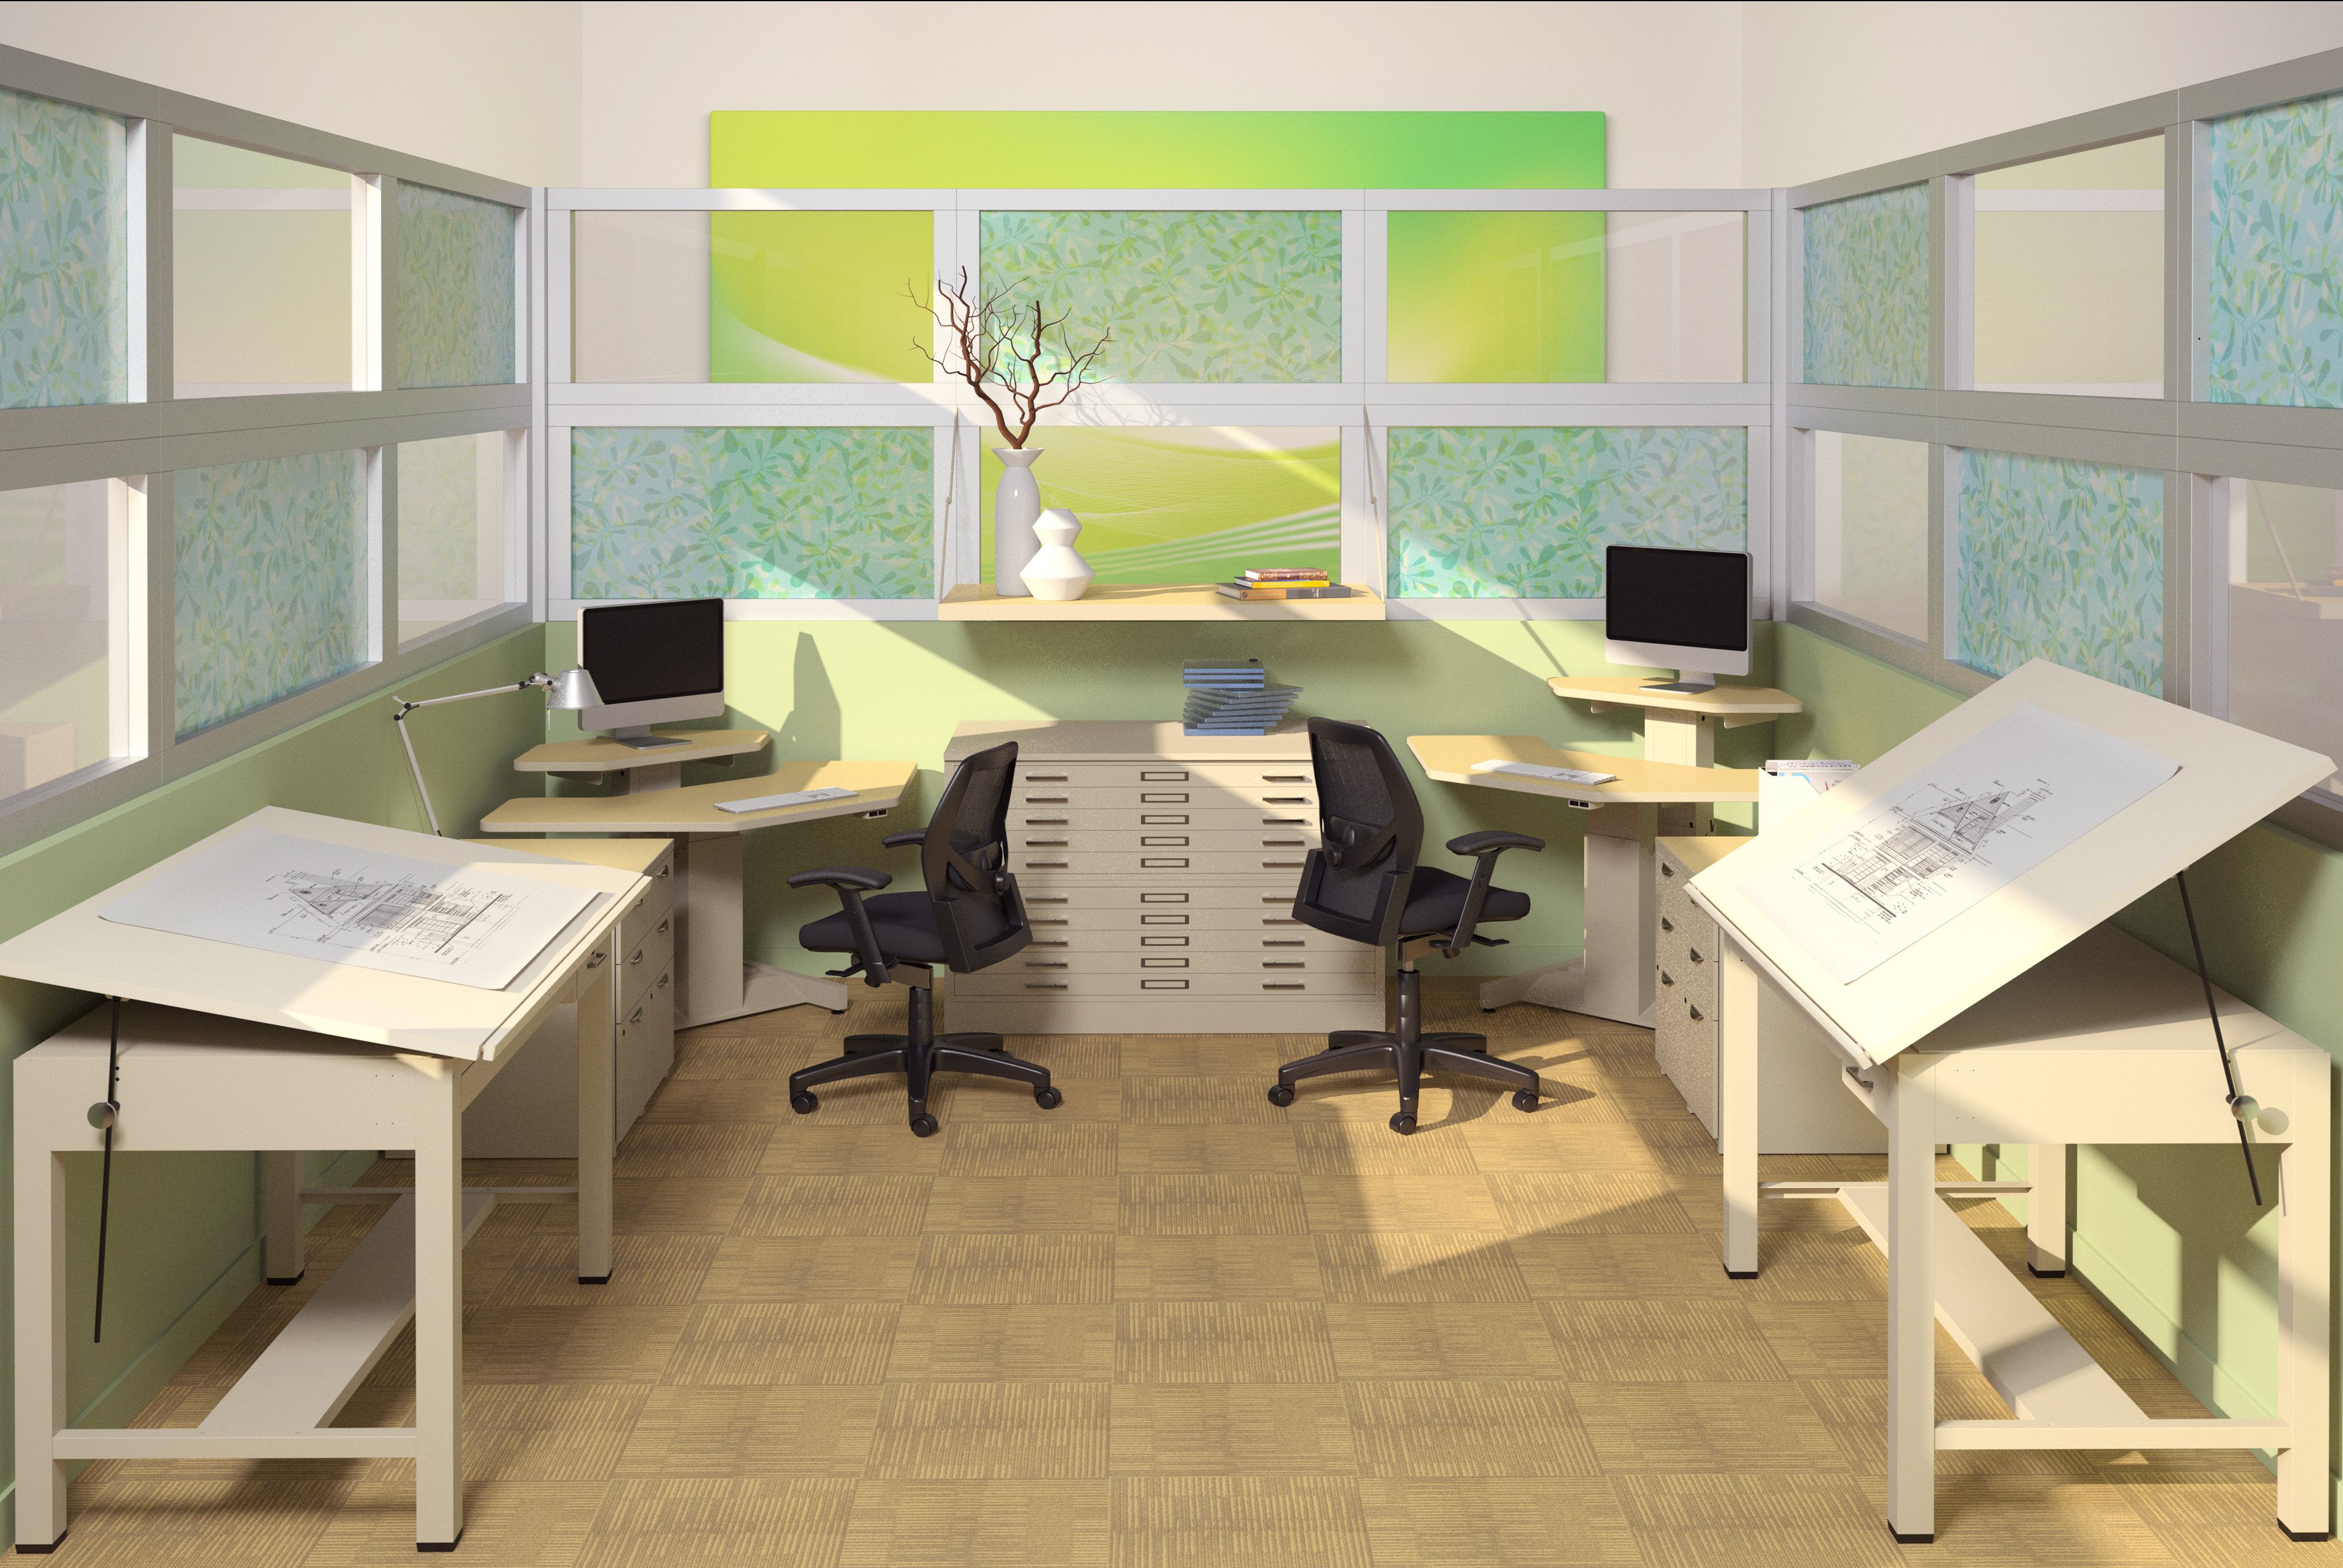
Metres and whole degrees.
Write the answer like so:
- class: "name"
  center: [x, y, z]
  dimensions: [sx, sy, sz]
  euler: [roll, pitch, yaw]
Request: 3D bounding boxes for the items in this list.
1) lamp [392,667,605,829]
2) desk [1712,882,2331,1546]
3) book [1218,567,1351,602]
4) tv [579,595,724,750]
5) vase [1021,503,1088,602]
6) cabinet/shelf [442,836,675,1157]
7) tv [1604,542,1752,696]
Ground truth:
- class: "lamp"
  center: [-2.324, -0.179, 5.830]
  dimensions: [0.586, 0.568, 1.107]
  euler: [-3, 15, -12]
- class: "desk"
  center: [2.028, 0.932, 4.152]
  dimensions: [1.251, 1.224, 2.190]
  euler: [0, 1, 7]
- class: "book"
  center: [0.444, -0.753, 6.249]
  dimensions: [0.495, 0.084, 0.176]
  euler: [0, 14, -3]
- class: "tv"
  center: [-1.978, -0.422, 6.218]
  dimensions: [0.660, 0.535, 0.224]
  euler: [-2, 4, -38]
- class: "vase"
  center: [-0.448, -0.860, 6.223]
  dimensions: [0.207, 0.325, 0.230]
  euler: [-9, 19, -32]
- class: "cabinet/shelf"
  center: [-1.721, 0.617, 4.550]
  dimensions: [0.626, 0.676, 1.026]
  euler: [-1, 7, -5]
- class: "tv"
  center: [1.952, -0.636, 6.313]
  dimensions: [0.665, 0.547, 0.212]
  euler: [2, 5, 34]
